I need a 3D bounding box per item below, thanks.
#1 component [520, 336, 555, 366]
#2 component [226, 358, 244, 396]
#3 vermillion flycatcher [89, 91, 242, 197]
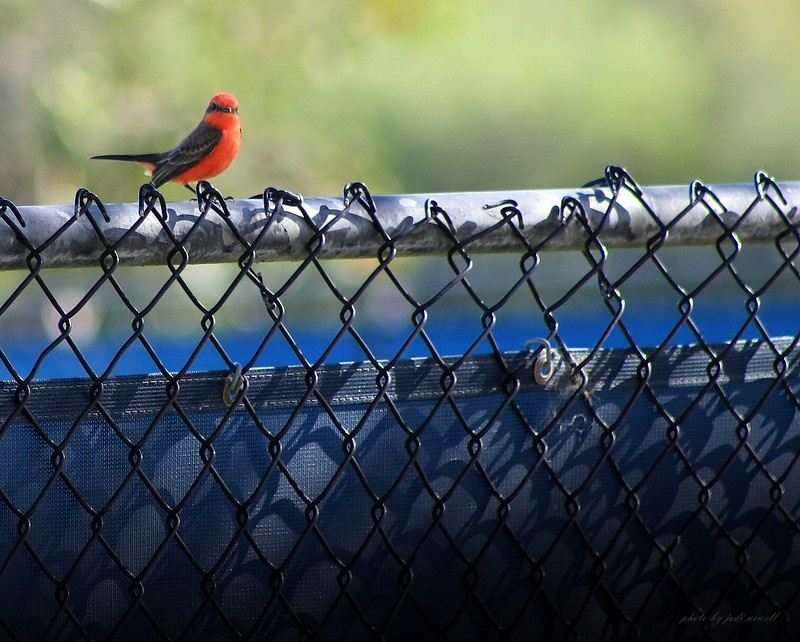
[{"bbox_3d":[0.563,0.117,6.098,0.075,0.118,0.029,-22,0,23],"label":"component"},{"bbox_3d":[-0.642,0.229,5.941,0.072,0.125,0.048,-19,-21,42],"label":"component"},{"bbox_3d":[-1.082,-0.841,7.798,0.874,0.713,0.405,-1,-13,2],"label":"vermillion flycatcher"}]
